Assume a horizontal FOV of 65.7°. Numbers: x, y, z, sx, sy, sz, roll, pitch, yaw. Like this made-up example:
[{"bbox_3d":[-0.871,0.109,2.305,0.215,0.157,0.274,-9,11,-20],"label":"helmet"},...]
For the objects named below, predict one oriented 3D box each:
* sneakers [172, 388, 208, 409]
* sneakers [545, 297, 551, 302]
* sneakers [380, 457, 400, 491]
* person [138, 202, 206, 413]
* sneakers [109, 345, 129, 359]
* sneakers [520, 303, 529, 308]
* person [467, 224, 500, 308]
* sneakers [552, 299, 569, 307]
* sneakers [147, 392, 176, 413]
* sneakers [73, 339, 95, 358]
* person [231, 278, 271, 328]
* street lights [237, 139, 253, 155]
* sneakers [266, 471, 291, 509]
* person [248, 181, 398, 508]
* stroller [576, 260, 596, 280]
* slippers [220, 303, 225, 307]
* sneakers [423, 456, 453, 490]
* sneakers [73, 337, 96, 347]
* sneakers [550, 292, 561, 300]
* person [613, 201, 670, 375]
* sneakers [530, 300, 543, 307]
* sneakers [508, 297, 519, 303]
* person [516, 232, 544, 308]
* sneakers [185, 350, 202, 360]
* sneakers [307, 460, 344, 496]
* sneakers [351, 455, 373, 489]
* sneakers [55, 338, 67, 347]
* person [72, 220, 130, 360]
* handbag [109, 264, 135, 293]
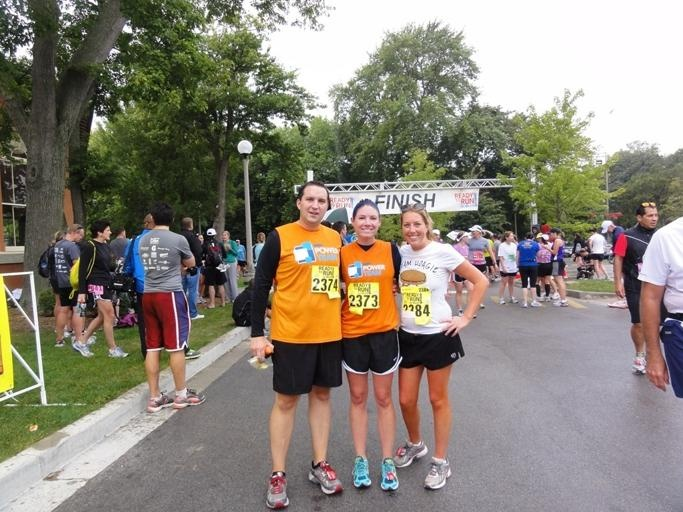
[{"bbox_3d":[-1.941,1.815,6.797,0.470,0.257,0.172,0,2,-25],"label":"sneakers"},{"bbox_3d":[5.945,1.252,15.264,0.099,0.145,0.303,-8,-9,27],"label":"sneakers"},{"bbox_3d":[0.428,1.978,4.812,0.116,0.131,0.289,-1,1,2],"label":"sneakers"},{"bbox_3d":[-2.223,0.618,6.755,0.676,2.560,0.660,-4,8,-21],"label":"person"},{"bbox_3d":[-3.644,1.546,8.568,0.354,0.181,0.172,4,4,7],"label":"sneakers"},{"bbox_3d":[4.906,1.313,14.177,0.090,0.119,0.260,-2,-6,8],"label":"sneakers"},{"bbox_3d":[3.672,0.204,14.277,0.983,2.238,0.652,-3,-20,22],"label":"person"},{"bbox_3d":[5.827,1.230,14.196,0.178,0.244,0.501,-5,7,-24],"label":"sneakers"},{"bbox_3d":[-2.292,1.832,6.660,0.134,0.218,0.394,-1,2,26],"label":"sneakers"},{"bbox_3d":[-4.336,1.543,8.810,0.265,0.122,0.097,39,1,6],"label":"sneakers"},{"bbox_3d":[-1.788,0.951,10.656,0.940,1.042,0.726,-2,12,-3],"label":"person"},{"bbox_3d":[-3.635,-4.048,19.536,0.433,0.675,1.710,-3,7,-11],"label":"street lights"},{"bbox_3d":[-0.578,2.036,4.649,0.202,0.244,0.304,-2,7,-10],"label":"sneakers"},{"bbox_3d":[-0.396,0.728,4.768,0.860,2.790,0.758,-2,7,-6],"label":"person"},{"bbox_3d":[10.118,0.567,21.788,0.525,0.787,1.234,-3,4,-39],"label":"stroller"},{"bbox_3d":[-3.248,1.302,14.284,0.076,0.143,0.135,3,-8,-12],"label":"slippers"},{"bbox_3d":[0.859,1.977,4.772,0.125,0.192,0.360,-3,-10,22],"label":"sneakers"},{"bbox_3d":[-4.679,1.515,9.652,0.400,0.194,0.145,2,15,-5],"label":"sneakers"},{"bbox_3d":[6.331,1.190,15.632,0.176,0.246,0.532,-12,-2,37],"label":"sneakers"},{"bbox_3d":[4.229,0.404,7.399,0.689,2.295,0.620,0,1,-7],"label":"person"},{"bbox_3d":[5.233,1.269,14.166,0.333,0.169,0.126,-6,10,-41],"label":"sneakers"},{"bbox_3d":[4.921,1.266,15.247,0.153,0.280,0.388,-2,-5,-13],"label":"sneakers"},{"bbox_3d":[5.117,0.344,14.423,0.631,2.038,1.452,2,8,21],"label":"person"},{"bbox_3d":[-2.454,1.611,8.612,0.271,0.131,0.115,-1,4,3],"label":"sneakers"},{"bbox_3d":[-0.158,1.988,4.800,0.159,0.184,0.347,1,5,-36],"label":"sneakers"},{"bbox_3d":[0.175,1.976,4.789,0.114,0.149,0.309,-1,-4,-1],"label":"sneakers"},{"bbox_3d":[-5.091,1.571,9.529,0.091,0.116,0.245,0,-10,-11],"label":"sneakers"},{"bbox_3d":[-3.986,0.524,8.533,0.731,2.225,1.061,-5,8,-29],"label":"person"},{"bbox_3d":[-3.459,0.341,8.270,0.373,0.416,0.408,5,-3,22],"label":"handbag"}]
